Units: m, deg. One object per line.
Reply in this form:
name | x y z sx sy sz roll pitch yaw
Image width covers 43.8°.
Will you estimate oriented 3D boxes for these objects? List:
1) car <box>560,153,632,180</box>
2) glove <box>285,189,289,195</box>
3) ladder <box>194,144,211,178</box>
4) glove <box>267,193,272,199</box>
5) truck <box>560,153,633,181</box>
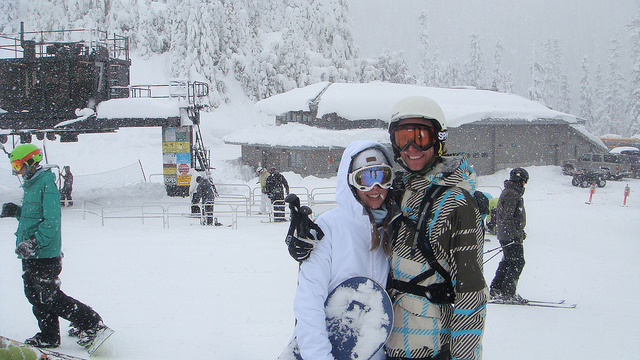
car | 28.141 -1.594 81.235 5.165 1.996 2.994 6 7 36
glove | -2.835 1.012 68.705 0.125 0.320 0.326 19 16 5
ladder | -10.868 -1.790 74.080 1.731 2.779 1.008 4 7 29
glove | -4.365 1.410 68.831 0.278 0.503 0.506 -3 7 -26
truck | 28.187 -1.591 81.216 5.278 2.055 3.057 8 8 34
